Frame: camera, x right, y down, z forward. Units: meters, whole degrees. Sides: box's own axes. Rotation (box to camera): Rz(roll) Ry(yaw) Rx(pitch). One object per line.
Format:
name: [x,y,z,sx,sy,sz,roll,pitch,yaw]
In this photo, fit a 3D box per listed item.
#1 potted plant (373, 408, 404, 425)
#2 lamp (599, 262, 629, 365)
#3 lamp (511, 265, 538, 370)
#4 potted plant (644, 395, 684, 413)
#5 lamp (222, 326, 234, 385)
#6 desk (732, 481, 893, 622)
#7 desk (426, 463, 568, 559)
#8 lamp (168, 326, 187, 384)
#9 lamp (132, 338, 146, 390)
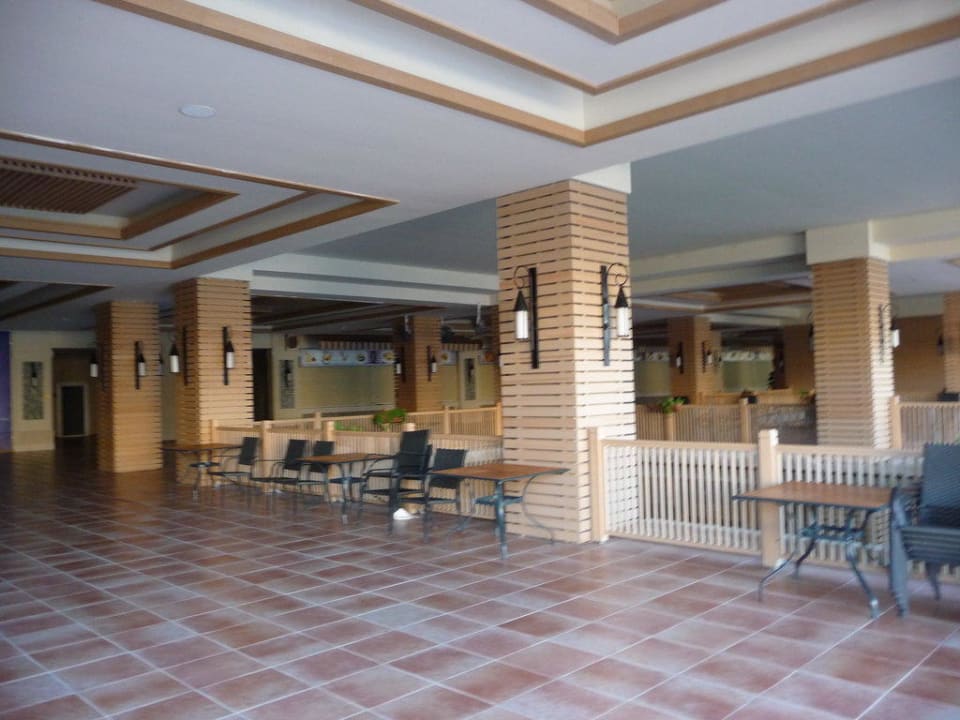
potted plant: [-1.809,1.114,13.932,0.379,0.185,0.405,3,-6,-40]
lamp: [1.639,-0.568,8.792,0.394,0.949,0.795,-5,1,11]
lamp: [0.590,-0.522,8.694,0.315,1.007,0.772,-5,1,5]
potted plant: [4.307,1.047,16.865,0.786,0.253,2.059,-2,1,17]
lamp: [-4.996,-0.085,14.245,0.258,1.110,0.423,-6,2,-18]
desk: [3.279,1.746,6.543,1.422,0.715,1.186,-3,-7,43]
desk: [0.083,1.671,8.544,1.347,0.723,1.308,1,1,40]
lamp: [-6.000,-0.102,14.359,0.365,1.105,1.243,-6,2,-22]
lamp: [-7.810,0.103,16.479,0.249,1.106,0.445,-7,2,-37]
